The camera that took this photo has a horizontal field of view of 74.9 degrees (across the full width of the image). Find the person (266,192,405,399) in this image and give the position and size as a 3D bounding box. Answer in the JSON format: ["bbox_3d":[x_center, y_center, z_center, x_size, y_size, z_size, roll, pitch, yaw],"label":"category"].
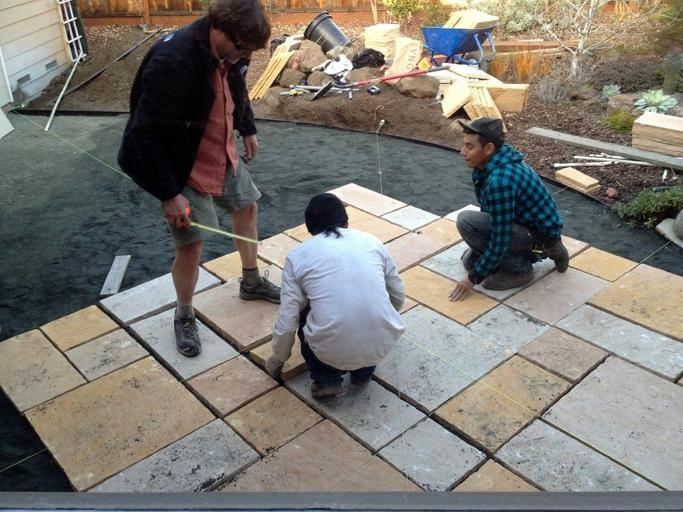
[{"bbox_3d":[0.043,0.192,2.773,0.858,1.184,0.719,13,24,34],"label":"person"}]

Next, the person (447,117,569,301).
[{"bbox_3d":[1.311,-0.414,3.640,1.098,1.379,0.729,-15,38,-20],"label":"person"}]

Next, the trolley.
[{"bbox_3d":[2.307,-4.076,8.750,1.401,0.735,1.335,13,32,20],"label":"trolley"}]

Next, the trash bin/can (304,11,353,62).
[{"bbox_3d":[-0.014,-4.613,9.574,1.108,1.129,0.968,-15,36,-31],"label":"trash bin/can"}]

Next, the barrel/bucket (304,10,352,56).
[{"bbox_3d":[-0.104,-4.677,9.643,1.126,0.999,0.918,-14,35,-30],"label":"barrel/bucket"}]

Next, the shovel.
[{"bbox_3d":[0.663,-3.140,7.998,2.330,0.135,0.592,-10,8,-1],"label":"shovel"}]
